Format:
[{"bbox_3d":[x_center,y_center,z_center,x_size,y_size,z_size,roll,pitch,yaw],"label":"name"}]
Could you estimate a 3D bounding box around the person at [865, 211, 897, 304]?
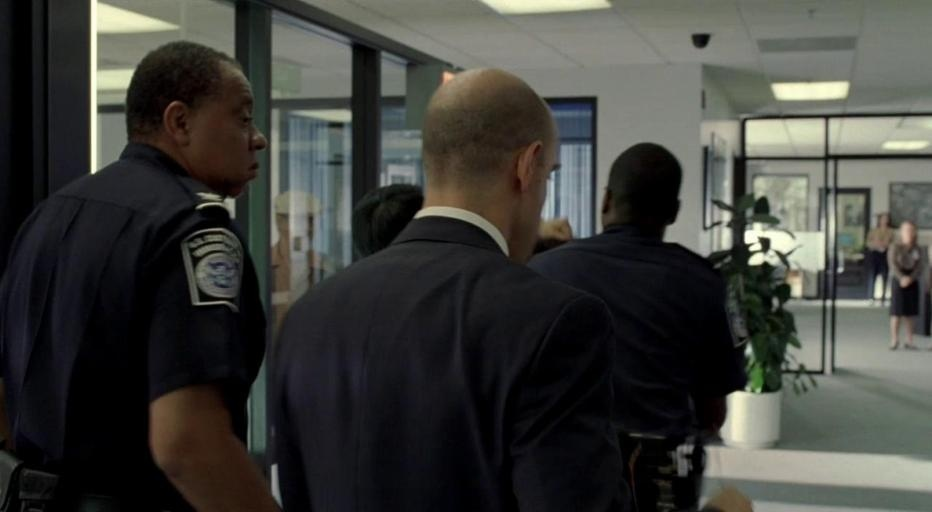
[{"bbox_3d":[4.426,0.106,10.152,0.271,0.928,0.243,3,3,22],"label":"person"}]
